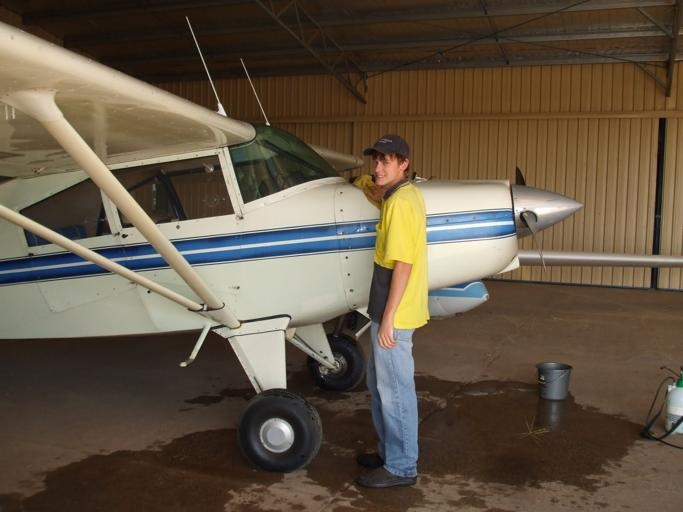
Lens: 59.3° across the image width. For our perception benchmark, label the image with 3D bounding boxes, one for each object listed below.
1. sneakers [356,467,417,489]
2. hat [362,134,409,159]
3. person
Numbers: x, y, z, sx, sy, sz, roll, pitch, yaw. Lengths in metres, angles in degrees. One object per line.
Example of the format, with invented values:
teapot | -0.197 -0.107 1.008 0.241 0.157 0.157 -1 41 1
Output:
sneakers | 0.296 1.492 4.061 0.416 0.121 0.137 3 -6 0
hat | 0.284 -0.729 3.964 0.276 0.166 0.324 -1 10 -2
person | 0.332 0.365 4.040 0.485 2.331 0.689 0 13 7
